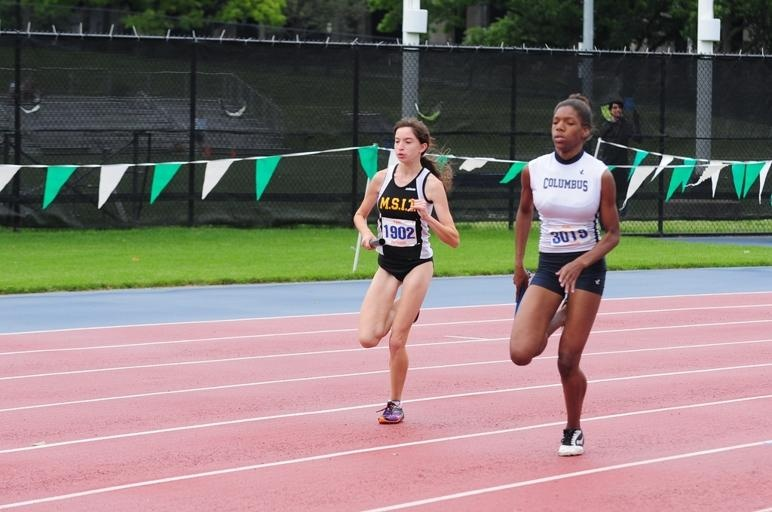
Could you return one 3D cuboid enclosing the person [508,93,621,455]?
[{"bbox_3d":[1.489,0.147,7.967,0.831,2.891,0.846,2,10,7],"label":"person"}]

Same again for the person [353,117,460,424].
[{"bbox_3d":[0.174,0.076,8.880,0.924,2.687,1.207,1,10,-2],"label":"person"}]

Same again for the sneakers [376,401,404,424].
[{"bbox_3d":[0.052,1.385,8.621,0.239,0.189,0.275,1,10,0],"label":"sneakers"}]
